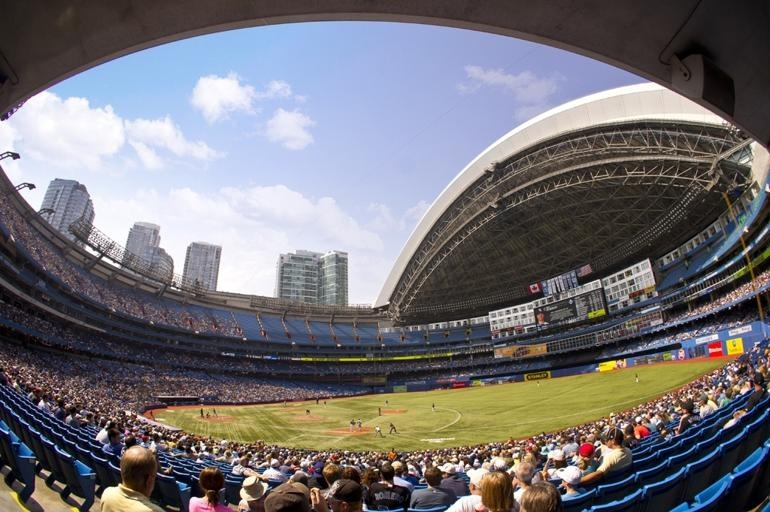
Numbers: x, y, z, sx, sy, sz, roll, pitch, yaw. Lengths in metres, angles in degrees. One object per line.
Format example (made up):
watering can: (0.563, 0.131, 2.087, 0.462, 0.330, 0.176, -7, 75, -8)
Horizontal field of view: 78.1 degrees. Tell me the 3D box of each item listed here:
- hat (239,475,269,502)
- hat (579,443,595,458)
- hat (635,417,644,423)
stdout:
hat: (-3.219, 5.514, 11.418, 0.606, 0.330, 0.641, -7, -4, -35)
hat: (5.918, 5.630, 13.906, 0.334, 0.444, 0.246, 38, -31, 21)
hat: (11.718, 7.479, 21.856, 0.536, 0.278, 0.536, -9, -19, 30)
